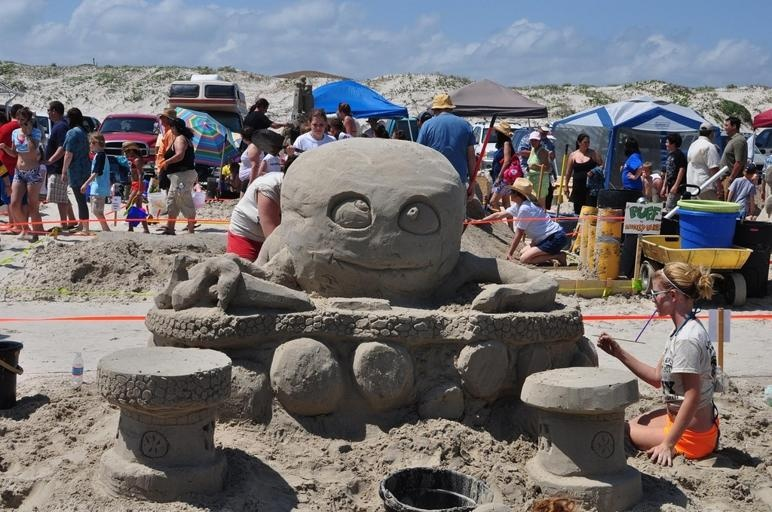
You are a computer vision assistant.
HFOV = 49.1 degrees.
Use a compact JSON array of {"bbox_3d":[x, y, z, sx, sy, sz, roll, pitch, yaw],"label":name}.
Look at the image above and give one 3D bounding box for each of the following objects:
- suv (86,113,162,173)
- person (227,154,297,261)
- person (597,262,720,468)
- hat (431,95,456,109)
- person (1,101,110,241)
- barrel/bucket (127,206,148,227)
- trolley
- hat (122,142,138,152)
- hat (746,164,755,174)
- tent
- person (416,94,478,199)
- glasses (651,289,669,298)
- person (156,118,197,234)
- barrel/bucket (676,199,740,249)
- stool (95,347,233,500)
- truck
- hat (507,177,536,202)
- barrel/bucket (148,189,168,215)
[{"bbox_3d":[-5.775,-2.568,18.385,1.387,1.209,2.689,0,1,-4],"label":"suv"},{"bbox_3d":[-1.213,-0.361,8.011,0.440,0.848,0.966,-7,12,-32],"label":"person"},{"bbox_3d":[2.085,0.950,6.553,1.012,1.669,0.942,-1,2,16],"label":"person"},{"bbox_3d":[0.668,-1.917,10.473,0.308,0.151,0.287,12,14,36],"label":"hat"},{"bbox_3d":[-4.844,-1.277,12.319,1.083,1.899,1.243,8,13,35],"label":"person"},{"bbox_3d":[-3.826,-0.631,13.005,0.310,0.234,0.474,2,-14,-29],"label":"barrel/bucket"},{"bbox_3d":[3.934,-0.011,10.774,1.146,1.166,1.642,4,6,7],"label":"trolley"},{"bbox_3d":[-3.857,-1.650,12.682,0.229,0.192,0.172,-6,9,-23],"label":"hat"},{"bbox_3d":[5.582,-1.339,12.953,0.112,0.142,0.279,5,11,25],"label":"hat"},{"bbox_3d":[5.867,-2.412,17.616,2.922,1.192,2.792,-1,9,-31],"label":"tent"},{"bbox_3d":[0.742,-1.346,10.243,0.694,1.249,0.927,1,10,5],"label":"person"},{"bbox_3d":[2.088,0.284,6.443,0.164,0.043,0.151,1,-3,4],"label":"glasses"},{"bbox_3d":[-3.034,-1.147,12.289,0.517,1.702,0.799,-3,11,-14],"label":"person"},{"bbox_3d":[3.833,-0.410,10.245,0.683,0.448,0.622,-2,8,0],"label":"barrel/bucket"},{"bbox_3d":[-1.552,1.184,5.931,0.931,0.925,0.579,-2,11,-12],"label":"stool"},{"bbox_3d":[-4.503,-4.266,21.000,1.701,1.866,3.032,0,37,-8],"label":"truck"},{"bbox_3d":[1.959,-0.913,11.611,0.452,0.172,0.380,27,-7,-37],"label":"hat"},{"bbox_3d":[-3.515,-0.834,13.041,0.422,0.269,0.397,-1,4,0],"label":"barrel/bucket"}]
